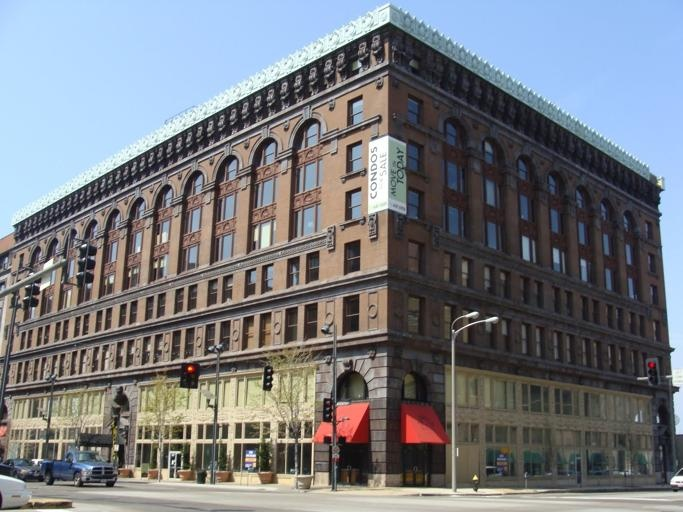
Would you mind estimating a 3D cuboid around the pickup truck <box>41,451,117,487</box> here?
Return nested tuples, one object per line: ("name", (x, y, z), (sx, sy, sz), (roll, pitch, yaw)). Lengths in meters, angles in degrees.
("pickup truck", (-19.287, 15.557, 49.297), (6.774, 2.527, 2.499), (-13, -20, 39))

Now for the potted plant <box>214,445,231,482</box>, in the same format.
("potted plant", (-10.509, 18.573, 60.796), (1.892, 3.564, 1.970), (-2, -12, -2))

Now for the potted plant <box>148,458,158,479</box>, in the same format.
("potted plant", (-18.162, 20.666, 65.296), (0.917, 1.919, 1.315), (6, -24, -13))

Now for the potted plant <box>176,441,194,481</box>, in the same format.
("potted plant", (-14.775, 19.533, 63.692), (1.134, 3.405, 2.678), (16, -28, -32))

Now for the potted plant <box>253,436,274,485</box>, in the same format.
("potted plant", (-6.422, 17.237, 57.021), (1.606, 3.929, 1.313), (-2, -23, 7))
